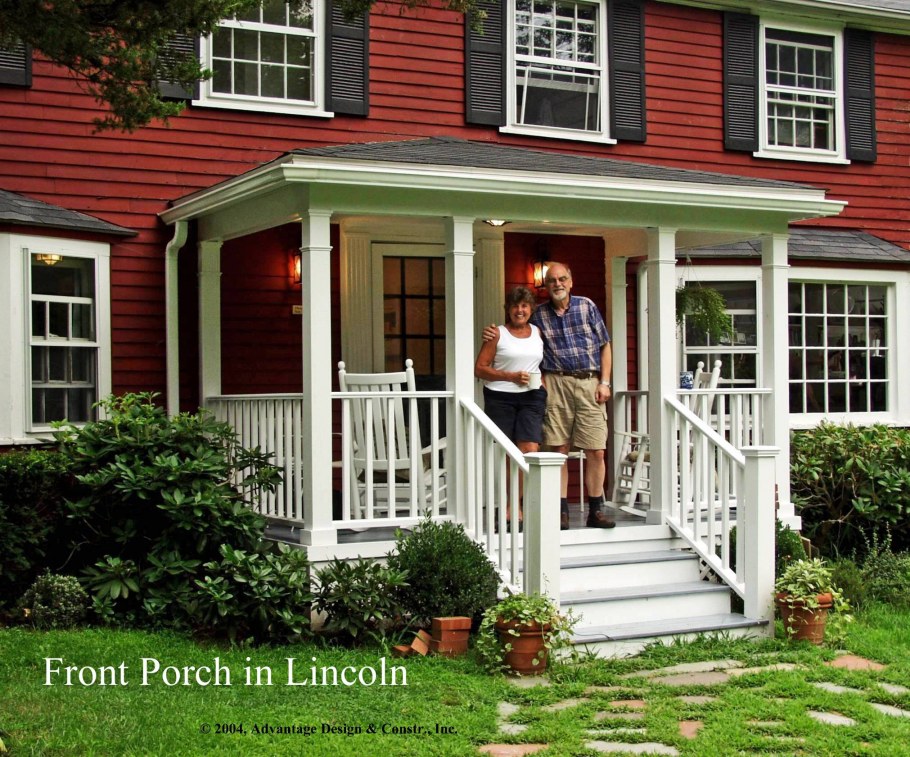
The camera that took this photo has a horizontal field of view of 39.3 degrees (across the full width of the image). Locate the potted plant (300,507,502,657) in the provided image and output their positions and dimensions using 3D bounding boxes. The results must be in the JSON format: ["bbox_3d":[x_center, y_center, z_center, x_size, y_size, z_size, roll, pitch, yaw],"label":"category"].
[{"bbox_3d":[-0.348,1.552,9.792,1.009,0.746,1.008,0,-9,7],"label":"potted plant"}]

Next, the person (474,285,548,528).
[{"bbox_3d":[0.474,-0.082,10.617,0.675,1.361,0.454,0,-3,-17],"label":"person"}]

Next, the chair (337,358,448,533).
[{"bbox_3d":[-0.563,0.593,10.408,0.831,1.220,0.955,11,4,12],"label":"chair"}]

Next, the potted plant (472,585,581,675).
[{"bbox_3d":[0.505,1.792,9.087,0.707,0.561,0.401,-1,-3,-2],"label":"potted plant"}]

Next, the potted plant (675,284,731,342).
[{"bbox_3d":[2.615,-0.713,13.356,0.561,0.541,0.480,-1,-3,11],"label":"potted plant"}]

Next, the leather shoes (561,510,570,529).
[{"bbox_3d":[0.915,1.164,10.583,0.062,0.145,0.179,-1,-3,3],"label":"leather shoes"}]

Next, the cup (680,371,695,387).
[{"bbox_3d":[2.376,-0.007,12.941,0.153,0.183,0.158,0,-2,0],"label":"cup"}]

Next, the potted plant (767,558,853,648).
[{"bbox_3d":[2.745,1.749,10.036,0.549,0.680,0.622,1,-7,-1],"label":"potted plant"}]

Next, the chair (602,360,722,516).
[{"bbox_3d":[2.109,0.499,12.406,1.052,1.501,1.023,0,3,-30],"label":"chair"}]

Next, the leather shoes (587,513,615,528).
[{"bbox_3d":[1.211,1.173,10.651,0.100,0.089,0.214,1,-2,-43],"label":"leather shoes"}]
